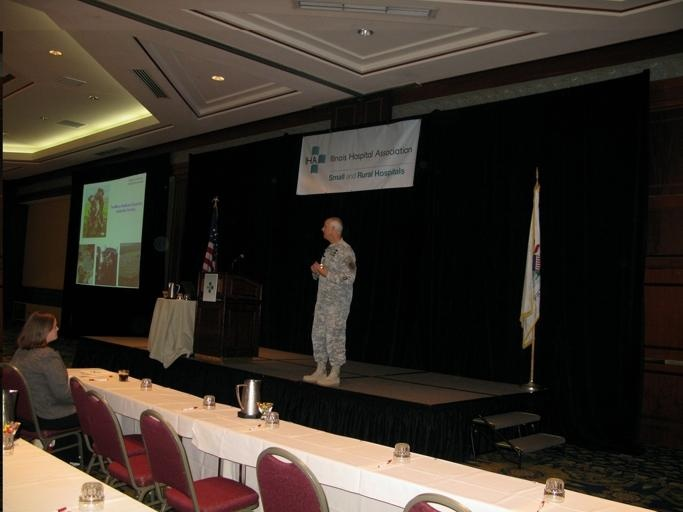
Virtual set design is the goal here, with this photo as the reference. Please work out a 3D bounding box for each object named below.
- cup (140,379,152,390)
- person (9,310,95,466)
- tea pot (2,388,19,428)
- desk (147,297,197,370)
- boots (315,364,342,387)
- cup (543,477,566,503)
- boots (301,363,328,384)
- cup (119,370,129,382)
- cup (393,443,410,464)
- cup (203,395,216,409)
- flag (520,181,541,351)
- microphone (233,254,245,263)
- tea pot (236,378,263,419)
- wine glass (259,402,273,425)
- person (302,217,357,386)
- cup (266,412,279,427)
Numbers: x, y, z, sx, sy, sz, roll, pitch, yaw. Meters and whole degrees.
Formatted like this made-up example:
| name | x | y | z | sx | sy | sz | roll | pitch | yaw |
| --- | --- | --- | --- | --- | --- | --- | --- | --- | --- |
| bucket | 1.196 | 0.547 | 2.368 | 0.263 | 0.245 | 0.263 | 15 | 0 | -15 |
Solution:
| name | x | y | z | sx | sy | sz | roll | pitch | yaw |
| --- | --- | --- | --- | --- | --- | --- | --- | --- | --- |
| cup | -1.598 | 1.047 | 4.157 | 0.088 | 0.093 | 0.068 | 6 | -7 | -8 |
| person | -2.370 | 1.106 | 4.353 | 0.530 | 1.319 | 0.713 | 5 | 9 | 27 |
| tea pot | -1.754 | 0.802 | 2.690 | 0.056 | 0.173 | 0.168 | 4 | -5 | -34 |
| desk | -2.393 | 0.942 | 6.675 | 0.620 | 0.738 | 0.636 | 6 | -15 | 2 |
| boots | -0.103 | 1.242 | 5.206 | 0.248 | 0.259 | 0.128 | 10 | -13 | -27 |
| cup | 1.034 | 1.122 | 2.469 | 0.098 | 0.102 | 0.103 | 2 | -4 | 0 |
| boots | -0.277 | 1.232 | 5.311 | 0.264 | 0.199 | 0.137 | 2 | -7 | -1 |
| cup | -1.918 | 1.066 | 4.506 | 0.095 | 0.107 | 0.095 | 4 | -6 | 0 |
| cup | 0.342 | 1.084 | 2.828 | 0.085 | 0.087 | 0.088 | -1 | 5 | 0 |
| cup | -0.942 | 1.050 | 3.691 | 0.106 | 0.109 | 0.109 | 2 | -5 | 0 |
| flag | 2.064 | 0.079 | 5.520 | 0.210 | 1.845 | 0.367 | 0 | -4 | 21 |
| microphone | -1.750 | 0.040 | 8.753 | 0.257 | 0.138 | 0.033 | -2 | -5 | 39 |
| tea pot | -0.643 | 0.980 | 3.495 | 0.147 | 0.252 | 0.212 | -2 | -5 | 39 |
| wine glass | -0.496 | 1.047 | 3.386 | 0.112 | 0.127 | 0.110 | -4 | -9 | 34 |
| person | -0.125 | 0.452 | 5.303 | 0.492 | 1.702 | 0.458 | 1 | -4 | 11 |
| cup | -0.441 | 1.065 | 3.323 | 0.075 | 0.077 | 0.079 | 2 | -5 | 0 |
